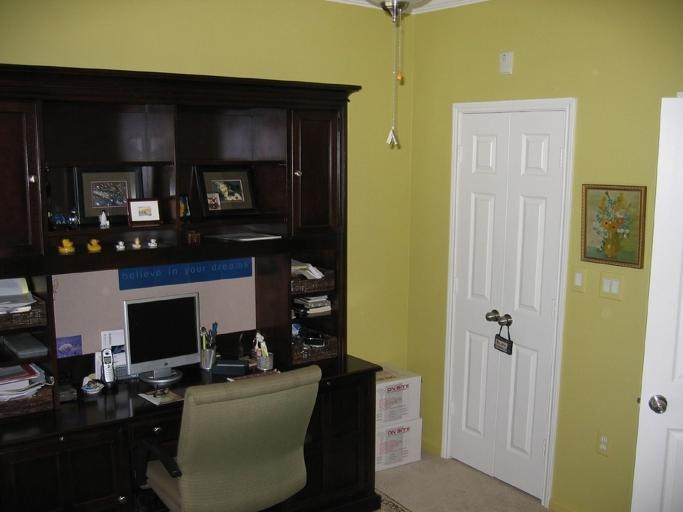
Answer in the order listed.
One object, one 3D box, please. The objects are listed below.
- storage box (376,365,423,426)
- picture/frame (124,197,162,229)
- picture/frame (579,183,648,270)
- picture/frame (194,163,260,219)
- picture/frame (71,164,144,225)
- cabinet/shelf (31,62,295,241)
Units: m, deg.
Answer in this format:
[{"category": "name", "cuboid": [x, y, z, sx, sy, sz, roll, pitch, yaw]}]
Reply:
[{"category": "storage box", "cuboid": [0.467, 1.176, 4.588, 0.564, 0.405, 0.309, -5, 8, -40]}, {"category": "picture/frame", "cuboid": [-1.274, -0.274, 3.510, 0.171, 0.194, 0.068, -3, -6, -36]}, {"category": "picture/frame", "cuboid": [1.780, -0.204, 3.570, 0.063, 0.678, 0.467, -8, 11, -41]}, {"category": "picture/frame", "cuboid": [-0.825, -0.459, 3.850, 0.303, 0.286, 0.023, -17, 4, -38]}, {"category": "picture/frame", "cuboid": [-1.504, -0.384, 3.492, 0.322, 0.314, 0.026, -5, 4, -33]}, {"category": "cabinet/shelf", "cuboid": [-1.100, -0.602, 3.551, 1.726, 1.100, 0.462, -8, 11, -27]}]
